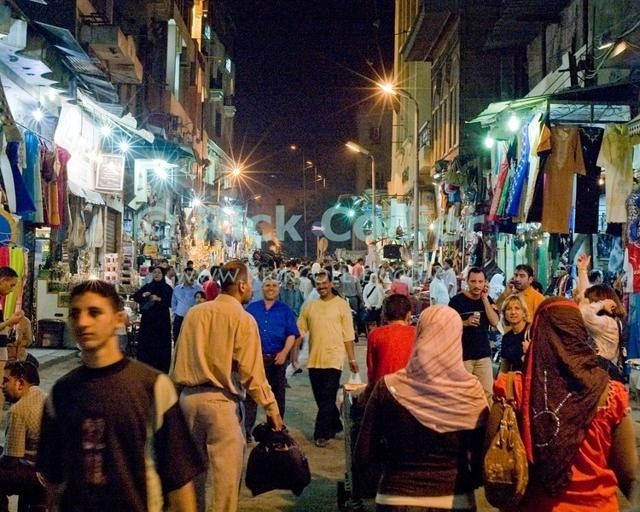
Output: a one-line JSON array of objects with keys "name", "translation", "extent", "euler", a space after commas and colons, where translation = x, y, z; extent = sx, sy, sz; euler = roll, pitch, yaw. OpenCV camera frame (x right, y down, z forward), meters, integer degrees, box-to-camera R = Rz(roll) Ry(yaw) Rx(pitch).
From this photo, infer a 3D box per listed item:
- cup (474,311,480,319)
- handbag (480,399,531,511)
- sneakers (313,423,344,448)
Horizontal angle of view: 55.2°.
[{"name": "cup", "translation": [1.808, 0.680, 7.018], "extent": [0.066, 0.088, 0.067], "euler": [1, 3, 0]}, {"name": "handbag", "translation": [1.016, 1.098, 3.330], "extent": [0.231, 0.597, 0.196], "euler": [-1, 0, 21]}, {"name": "sneakers", "translation": [0.095, 2.230, 7.580], "extent": [0.147, 0.255, 0.537], "euler": [-2, -6, 19]}]
